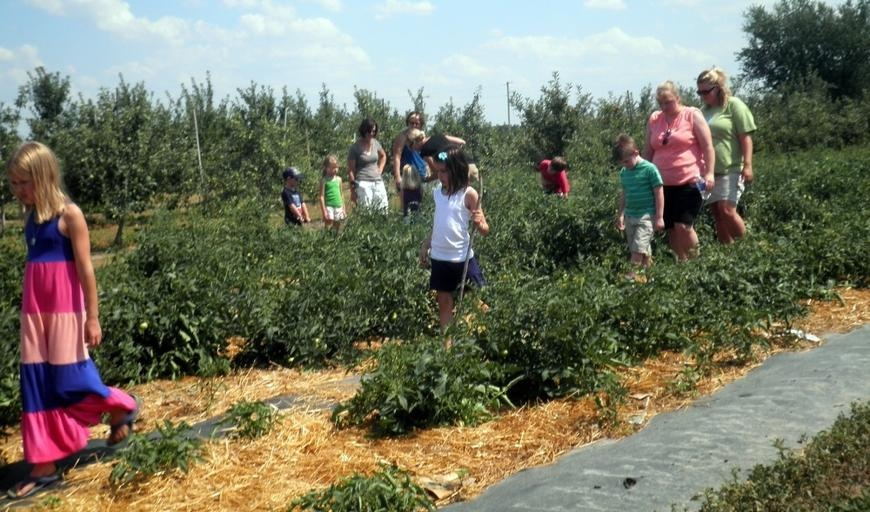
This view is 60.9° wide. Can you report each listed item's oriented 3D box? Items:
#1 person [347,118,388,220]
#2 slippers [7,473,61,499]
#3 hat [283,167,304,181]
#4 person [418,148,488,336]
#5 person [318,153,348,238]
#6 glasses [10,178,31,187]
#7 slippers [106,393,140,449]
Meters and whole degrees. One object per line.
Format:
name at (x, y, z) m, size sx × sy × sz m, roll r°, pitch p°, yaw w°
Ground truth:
person at (-1.286, -1.720, 13.873) m, size 0.685 × 1.686 × 0.963 m, roll -3°, pitch 3°, yaw -7°
slippers at (-4.448, 2.546, 8.234) m, size 0.511 × 0.146 × 0.236 m, roll -8°, pitch 15°, yaw -19°
hat at (-2.632, -1.548, 14.109) m, size 0.462 × 0.266 × 0.354 m, roll -7°, pitch 15°, yaw -22°
person at (0.308, -0.210, 9.922) m, size 0.429 × 2.385 × 0.739 m, roll -6°, pitch 4°, yaw -44°
person at (-1.991, -1.253, 14.219) m, size 0.453 × 1.395 × 2.096 m, roll -3°, pitch 3°, yaw -8°
glasses at (-4.666, -0.819, 8.295) m, size 0.122 × 0.108 × 0.143 m, roll 16°, pitch 49°, yaw 37°
slippers at (-3.620, 1.989, 8.656) m, size 0.264 × 0.699 × 0.190 m, roll 22°, pitch 14°, yaw 19°
